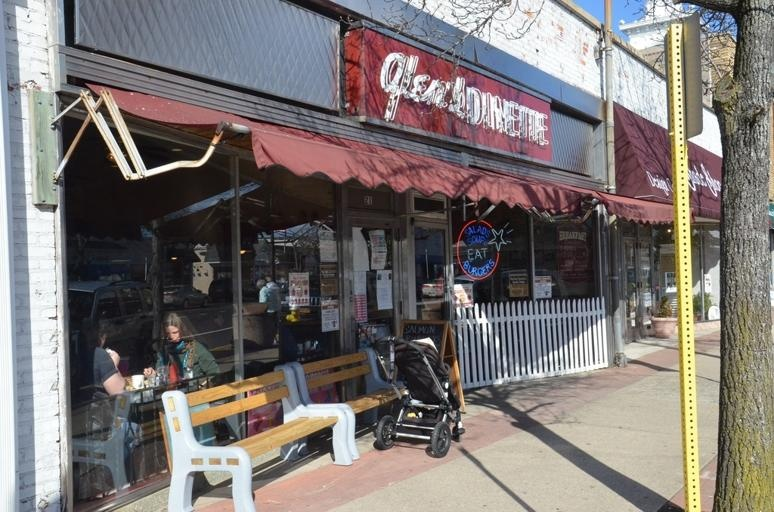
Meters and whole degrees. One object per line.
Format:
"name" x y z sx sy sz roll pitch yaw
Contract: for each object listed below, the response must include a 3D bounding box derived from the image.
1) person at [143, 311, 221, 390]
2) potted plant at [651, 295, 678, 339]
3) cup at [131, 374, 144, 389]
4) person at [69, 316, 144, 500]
"person" -2.413 1.209 8.406 0.846 1.264 0.765 -6 5 -8
"potted plant" 7.288 1.644 18.402 0.668 1.010 0.873 -1 4 1
"cup" -2.761 1.407 7.769 0.127 0.151 0.134 1 7 0
"person" -2.990 1.619 7.431 0.189 1.853 0.700 1 5 32
